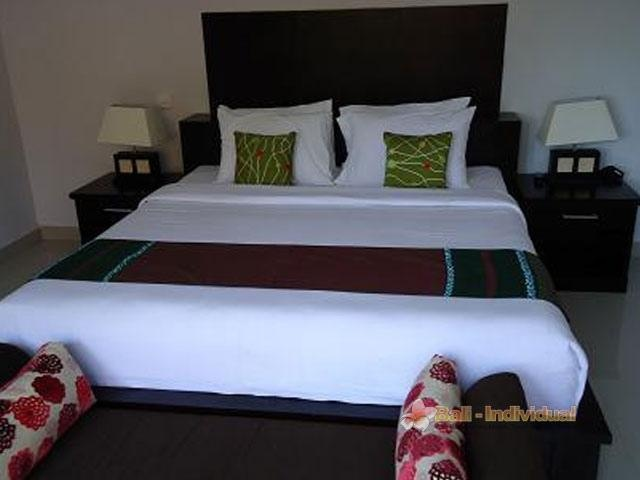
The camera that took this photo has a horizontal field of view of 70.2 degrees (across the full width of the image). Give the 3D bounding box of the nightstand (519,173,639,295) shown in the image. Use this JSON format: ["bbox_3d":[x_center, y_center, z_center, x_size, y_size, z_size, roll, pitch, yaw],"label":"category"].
[{"bbox_3d":[1.719,-0.034,3.366,0.844,0.908,0.674,1,28,10],"label":"nightstand"}]

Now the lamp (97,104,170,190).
[{"bbox_3d":[-1.488,-0.745,3.667,0.429,0.635,0.394,5,20,5],"label":"lamp"}]

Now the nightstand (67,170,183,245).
[{"bbox_3d":[-1.491,-0.277,3.609,0.710,0.796,0.540,-1,24,2],"label":"nightstand"}]
